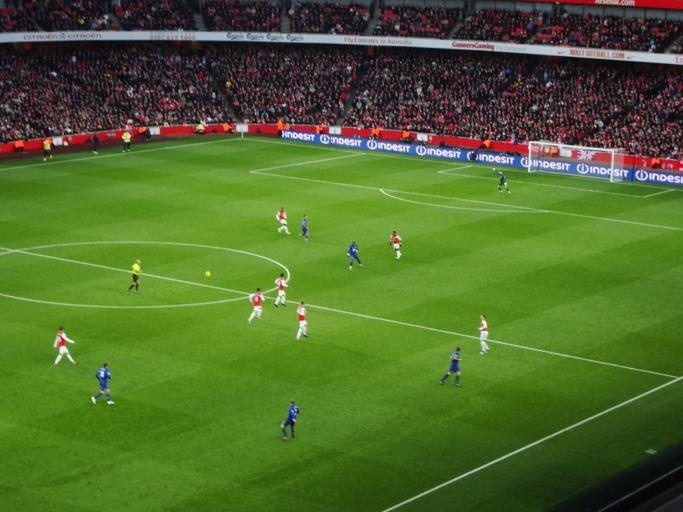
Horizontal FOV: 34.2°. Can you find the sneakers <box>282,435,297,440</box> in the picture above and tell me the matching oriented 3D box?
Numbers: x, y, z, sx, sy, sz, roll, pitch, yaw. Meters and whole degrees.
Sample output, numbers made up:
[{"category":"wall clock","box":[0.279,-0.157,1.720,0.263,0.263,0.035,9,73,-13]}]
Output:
[{"category":"sneakers","box":[-2.131,7.516,45.682,0.592,0.248,0.178,4,11,15]}]

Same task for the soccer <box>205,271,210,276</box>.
[{"category":"soccer","box":[-7.300,0.959,61.095,0.248,0.132,0.250,21,17,35]}]

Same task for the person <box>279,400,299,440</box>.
[{"category":"person","box":[-2.125,6.525,45.992,0.702,1.695,1.572,-1,15,-3]}]
